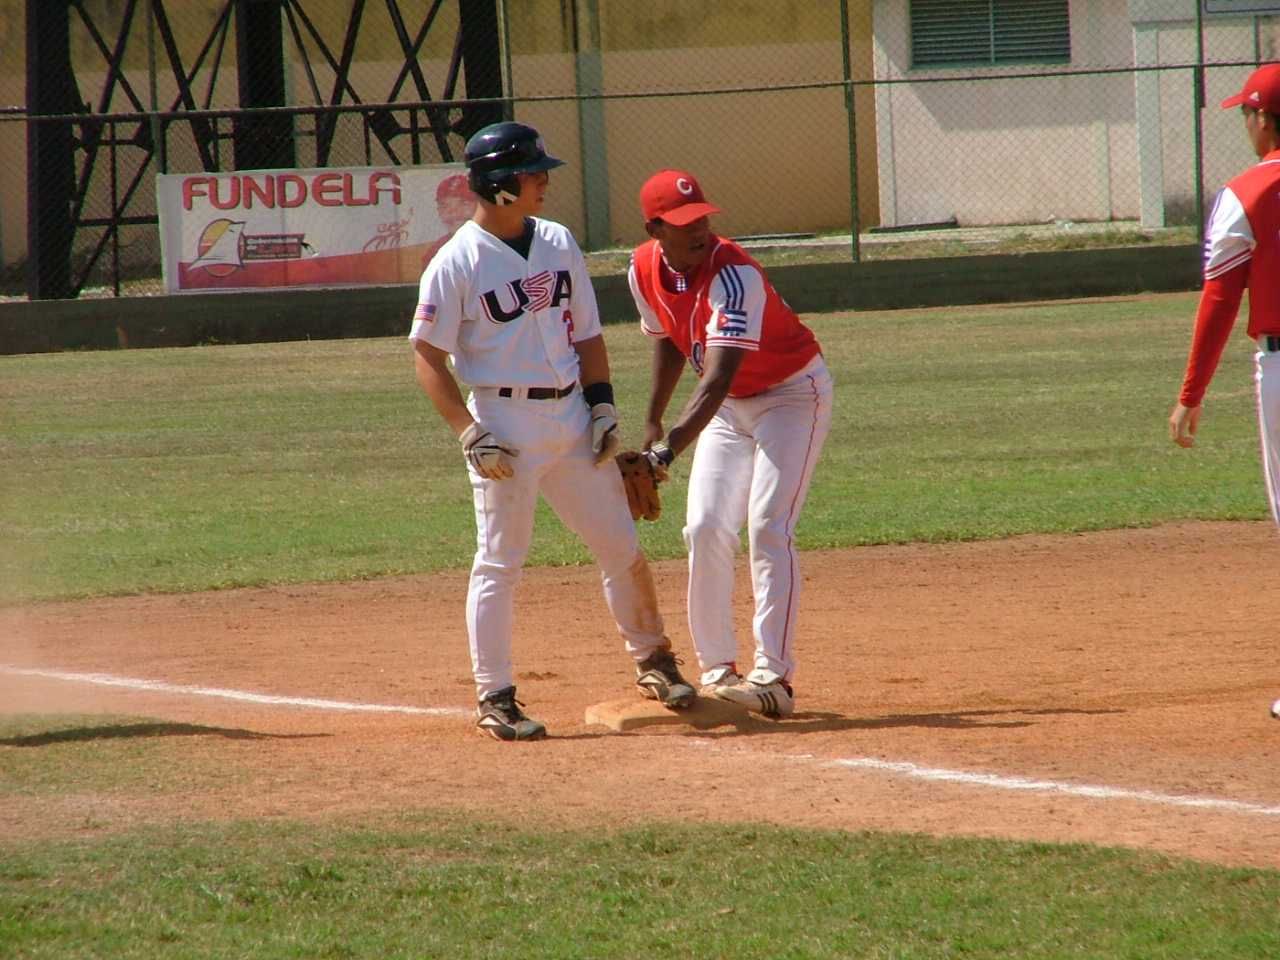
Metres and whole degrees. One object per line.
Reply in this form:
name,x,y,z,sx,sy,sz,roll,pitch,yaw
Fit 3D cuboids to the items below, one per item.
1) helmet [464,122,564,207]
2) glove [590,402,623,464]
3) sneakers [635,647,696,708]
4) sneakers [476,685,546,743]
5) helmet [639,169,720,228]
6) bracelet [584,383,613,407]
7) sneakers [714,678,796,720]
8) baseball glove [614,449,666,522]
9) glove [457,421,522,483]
helmet,-0.760,-1.765,13.501,0.535,0.351,0.422,-2,9,11
glove,-0.153,-0.277,13.610,0.120,0.262,0.211,-10,7,-22
sneakers,0.136,1.141,13.801,0.185,0.233,0.528,-4,15,-44
sneakers,-0.732,1.340,13.545,0.208,0.183,0.452,-4,6,-45
helmet,0.195,-1.569,13.461,0.292,0.195,0.408,-24,24,-31
bracelet,-0.237,-0.479,13.624,0.148,0.092,0.135,-1,-2,3
sneakers,0.686,1.231,13.784,0.521,0.206,0.176,16,5,-19
baseball glove,0.016,-0.058,13.722,0.291,0.137,0.349,-11,-16,-7
glove,-0.837,-0.163,13.323,0.301,0.319,0.169,-2,5,3
